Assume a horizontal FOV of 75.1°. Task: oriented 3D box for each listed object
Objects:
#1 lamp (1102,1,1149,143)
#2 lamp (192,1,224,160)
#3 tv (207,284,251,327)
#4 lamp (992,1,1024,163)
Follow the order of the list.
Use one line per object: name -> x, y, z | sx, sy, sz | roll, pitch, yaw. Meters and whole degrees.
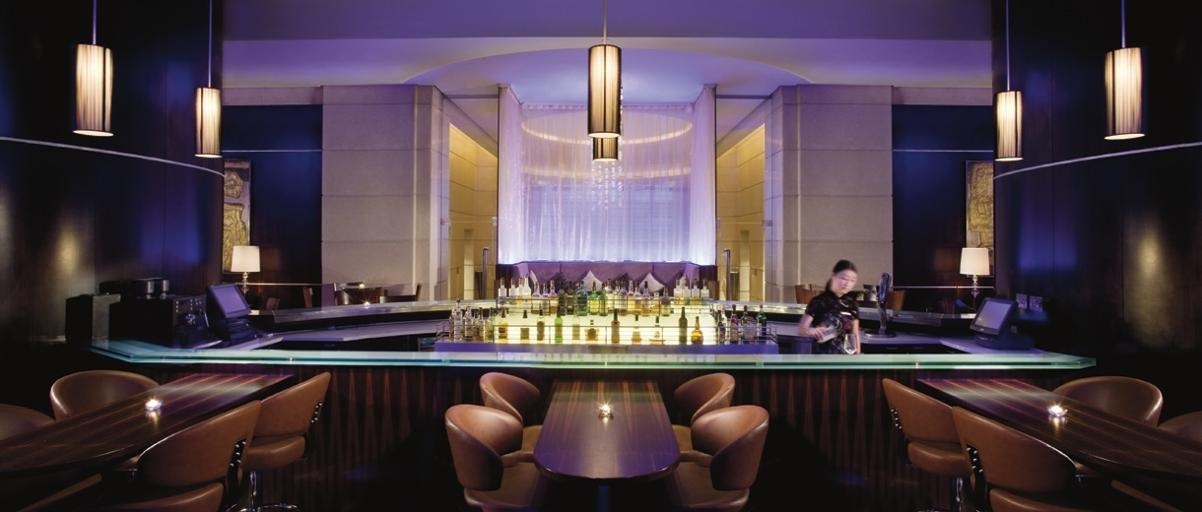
lamp -> 7.706, -2.430, 11.490 | 0.485, 1.279, 0.145 | 0, 3, 22
lamp -> -6.554, -3.009, 12.987 | 0.352, 2.693, 0.707 | -2, 3, -23
tv -> -5.903, 0.796, 12.336 | 0.452, 0.714, 0.622 | -24, -7, 28
lamp -> 6.561, -2.863, 12.569 | 0.382, 2.650, 0.549 | 0, 3, 30
